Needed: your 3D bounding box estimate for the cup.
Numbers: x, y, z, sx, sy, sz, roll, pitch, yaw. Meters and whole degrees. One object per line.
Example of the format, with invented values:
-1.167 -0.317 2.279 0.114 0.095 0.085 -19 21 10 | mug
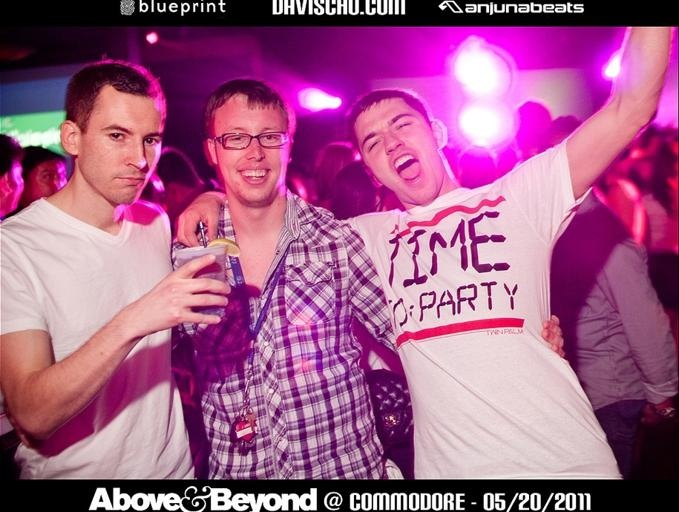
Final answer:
-0.857 0.170 3.154 0.377 0.423 0.394 -6 -12 -1 | cup
